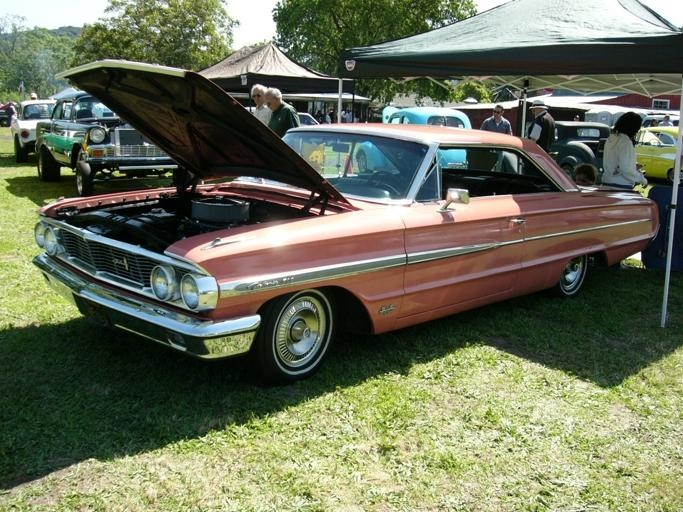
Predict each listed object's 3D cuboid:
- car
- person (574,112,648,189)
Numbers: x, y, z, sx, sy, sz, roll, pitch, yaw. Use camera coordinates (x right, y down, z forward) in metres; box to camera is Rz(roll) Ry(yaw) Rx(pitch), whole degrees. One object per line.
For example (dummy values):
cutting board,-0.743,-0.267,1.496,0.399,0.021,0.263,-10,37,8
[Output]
car,0.356,-0.268,4.829,4.789,1.549,2.446,-6,12,-31
person,3.516,-1.338,6.943,1.402,0.536,0.809,-19,28,-31
